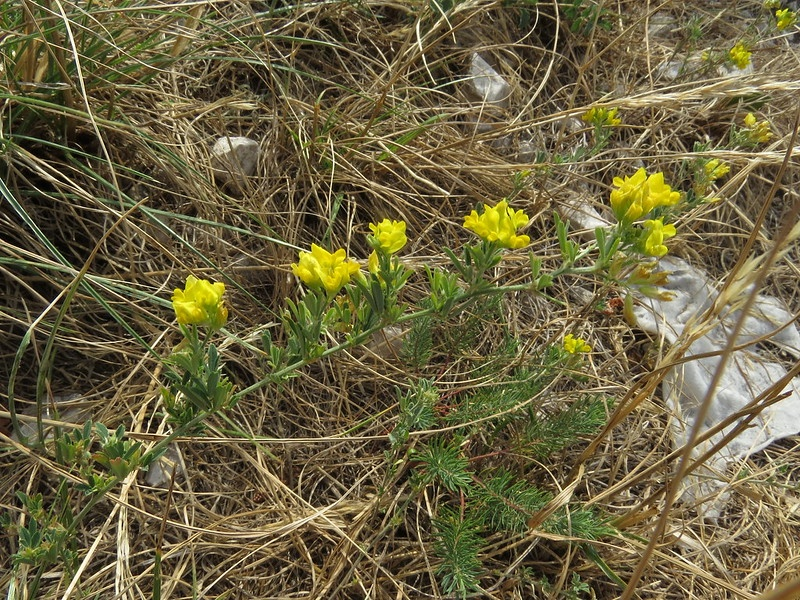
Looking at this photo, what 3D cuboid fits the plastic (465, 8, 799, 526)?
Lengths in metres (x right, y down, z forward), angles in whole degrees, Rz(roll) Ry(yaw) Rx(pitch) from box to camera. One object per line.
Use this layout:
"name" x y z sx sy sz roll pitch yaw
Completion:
"plastic" 0.970 -0.014 3.783 1.860 0.372 1.665 38 35 1
